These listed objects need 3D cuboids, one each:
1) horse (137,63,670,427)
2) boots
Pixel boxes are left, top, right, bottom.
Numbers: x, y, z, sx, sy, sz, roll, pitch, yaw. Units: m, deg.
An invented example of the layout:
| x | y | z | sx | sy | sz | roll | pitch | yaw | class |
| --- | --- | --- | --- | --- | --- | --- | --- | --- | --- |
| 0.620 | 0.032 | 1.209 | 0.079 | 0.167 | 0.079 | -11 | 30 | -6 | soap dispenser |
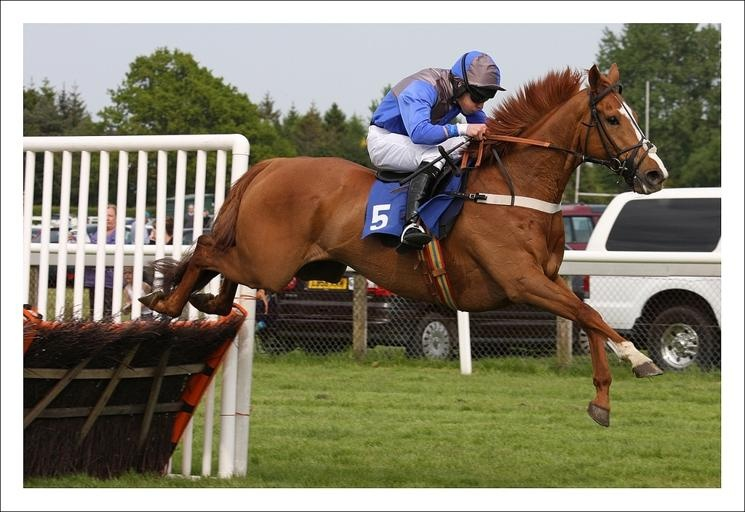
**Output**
| x | y | z | sx | sy | sz | roll | pitch | yaw | class |
| --- | --- | --- | --- | --- | --- | --- | --- | --- | --- |
| 0.112 | -0.114 | 8.451 | 4.817 | 2.664 | 0.937 | 4 | 3 | 33 | horse |
| 0.378 | -0.378 | 7.684 | 0.282 | 0.650 | 0.298 | 1 | 3 | 5 | boots |
